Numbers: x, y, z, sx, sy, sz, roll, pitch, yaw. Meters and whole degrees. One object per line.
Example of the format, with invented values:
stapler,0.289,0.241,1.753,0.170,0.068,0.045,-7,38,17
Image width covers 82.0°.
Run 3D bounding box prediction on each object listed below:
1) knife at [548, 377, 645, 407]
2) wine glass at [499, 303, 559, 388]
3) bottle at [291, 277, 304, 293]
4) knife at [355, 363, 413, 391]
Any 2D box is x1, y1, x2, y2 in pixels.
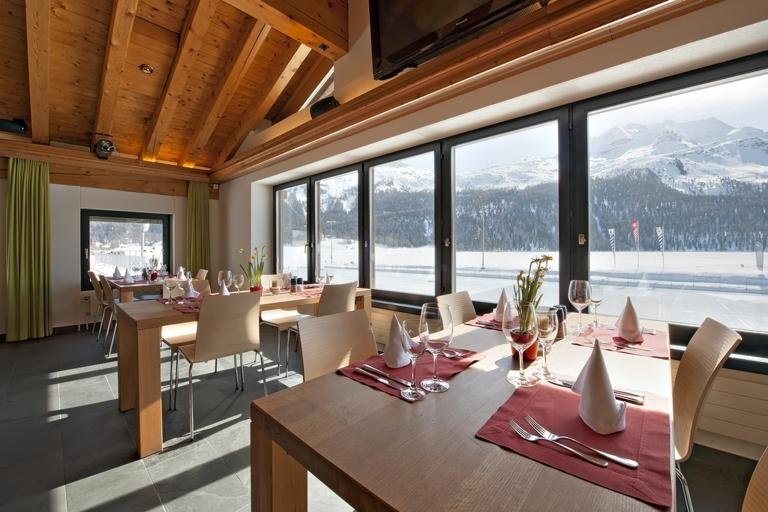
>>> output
knife,1.221,0.790,2.567,0.521,0.113,0.118,-1,4,18
wine glass,0.905,0.532,2.768,0.315,0.460,0.382,-1,4,15
bottle,-0.969,0.310,4.964,0.128,0.215,0.208,0,0,-24
knife,-0.018,0.723,2.752,0.413,0.043,0.107,13,16,32
